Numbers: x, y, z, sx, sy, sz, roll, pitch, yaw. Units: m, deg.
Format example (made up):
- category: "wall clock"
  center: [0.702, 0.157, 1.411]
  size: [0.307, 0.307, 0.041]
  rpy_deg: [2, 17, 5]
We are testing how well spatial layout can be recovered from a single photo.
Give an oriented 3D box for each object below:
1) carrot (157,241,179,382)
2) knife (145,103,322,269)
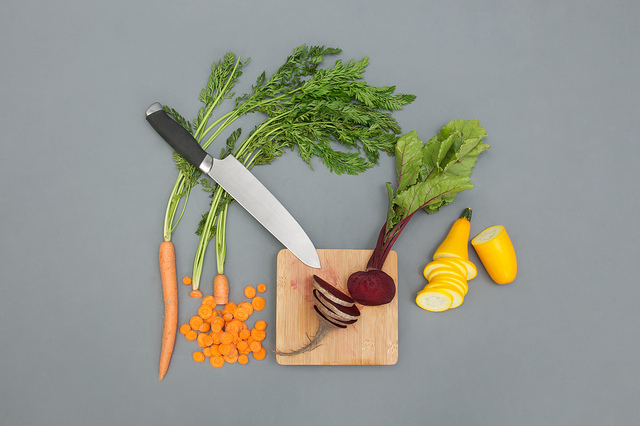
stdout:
- category: "carrot"
  center: [-0.659, 0.433, 2.991]
  size: [0.094, 0.570, 0.071]
  rpy_deg: [7, -9, -41]
- category: "knife"
  center: [-0.390, -0.105, 3.024]
  size: [0.161, 0.940, 0.066]
  rpy_deg: [-42, -4, -2]
